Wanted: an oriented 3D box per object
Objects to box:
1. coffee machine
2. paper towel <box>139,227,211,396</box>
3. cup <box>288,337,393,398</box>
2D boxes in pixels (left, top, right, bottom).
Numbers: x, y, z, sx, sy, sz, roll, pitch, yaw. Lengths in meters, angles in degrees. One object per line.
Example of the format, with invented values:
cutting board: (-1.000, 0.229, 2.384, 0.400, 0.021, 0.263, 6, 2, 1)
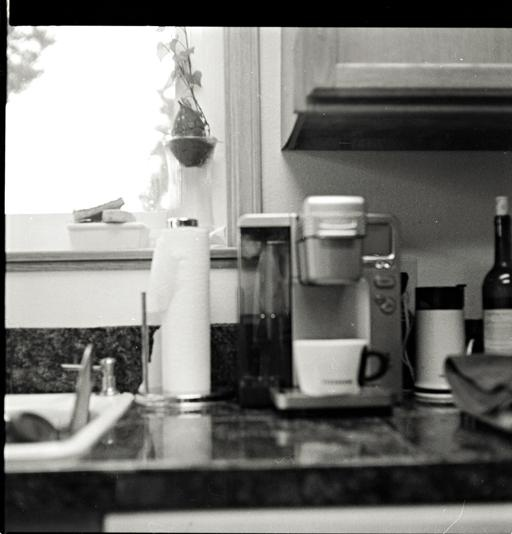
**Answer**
coffee machine: (0.073, 0.038, 0.987, 0.255, 0.310, 0.208, 0, -5, 1)
paper towel: (-0.091, 0.053, 0.946, 0.073, 0.203, 0.034, 0, -1, -4)
cup: (0.088, 0.110, 0.889, 0.086, 0.049, 0.055, 2, -11, -6)
